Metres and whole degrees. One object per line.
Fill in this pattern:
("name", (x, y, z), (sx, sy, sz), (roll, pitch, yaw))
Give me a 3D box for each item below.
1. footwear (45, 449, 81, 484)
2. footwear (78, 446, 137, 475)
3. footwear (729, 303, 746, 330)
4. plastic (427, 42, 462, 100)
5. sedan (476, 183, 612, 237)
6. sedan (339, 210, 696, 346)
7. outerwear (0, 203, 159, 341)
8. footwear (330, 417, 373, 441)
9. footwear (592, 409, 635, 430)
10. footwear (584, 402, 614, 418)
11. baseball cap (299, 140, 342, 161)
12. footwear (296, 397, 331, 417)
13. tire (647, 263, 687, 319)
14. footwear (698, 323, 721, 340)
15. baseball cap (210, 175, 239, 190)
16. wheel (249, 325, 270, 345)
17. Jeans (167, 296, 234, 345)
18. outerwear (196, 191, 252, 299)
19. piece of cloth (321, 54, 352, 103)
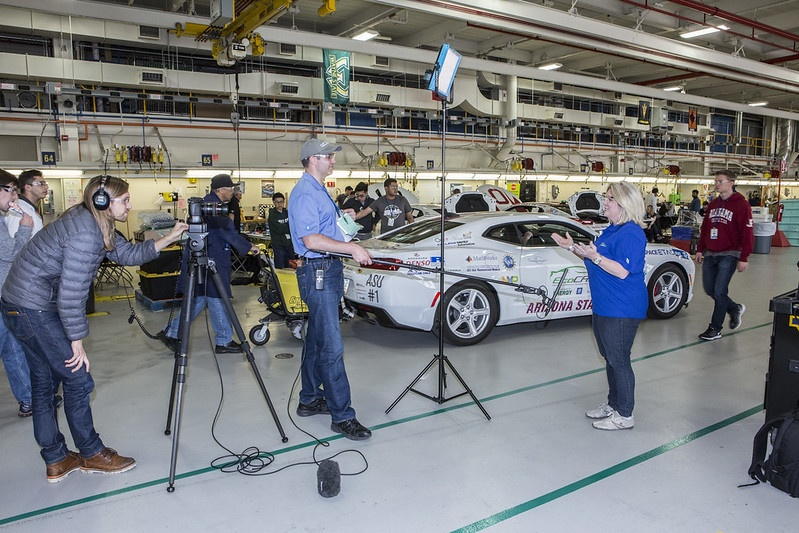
("footwear", (-2.742, 1.630, 4.425), (0.139, 0.144, 0.347), (2, 8, 20))
("footwear", (-2.403, 1.615, 4.439), (0.408, 0.163, 0.192), (-2, 2, -11))
("footwear", (4.757, 0.720, 7.564), (0.158, 0.360, 0.133), (8, 33, 5))
("plastic", (0.440, -1.912, 5.277), (0.284, 0.601, 0.496), (0, 12, 8))
("sedan", (3.272, -1.366, 12.487), (2.958, 1.199, 1.317), (1, 4, 10))
("sedan", (1.639, -0.199, 7.272), (4.506, 1.276, 1.869), (-4, 6, -20))
("outerwear", (-2.589, -0.077, 4.438), (1.225, 1.014, 0.783), (17, 14, -22))
("footwear", (-0.446, 1.474, 4.936), (0.348, 0.145, 0.158), (6, 4, 26))
("footwear", (1.997, 1.438, 5.046), (0.427, 0.164, 0.150), (1, -1, 0))
("footwear", (1.933, 1.387, 5.175), (0.280, 0.103, 0.104), (-3, 21, -8))
("baseball cap", (-0.724, -1.072, 4.959), (0.323, 0.128, 0.201), (-8, 17, -9))
("footwear", (-0.838, 1.383, 5.294), (0.393, 0.159, 0.140), (-1, 1, -12))
("tire", (3.897, 0.322, 7.840), (0.605, 0.602, 0.214), (-42, 15, -15))
("footwear", (4.192, 0.894, 7.199), (0.380, 0.160, 0.134), (1, 0, -30))
("baseball cap", (-2.198, -1.050, 6.698), (0.269, 0.142, 0.171), (-12, 19, -25))
("wheel", (-1.842, 0.904, 7.026), (0.212, 0.218, 0.078), (-28, 10, -22))
("Jeans", (-2.311, 0.653, 6.266), (0.716, 0.643, 0.292), (4, 10, 9))
("outerwear", (-2.144, -0.256, 6.770), (0.468, 0.940, 0.478), (5, -5, -15))
("piece of cloth", (-1.745, -5.217, 14.798), (0.694, 1.402, 0.574), (-4, 12, -11))
